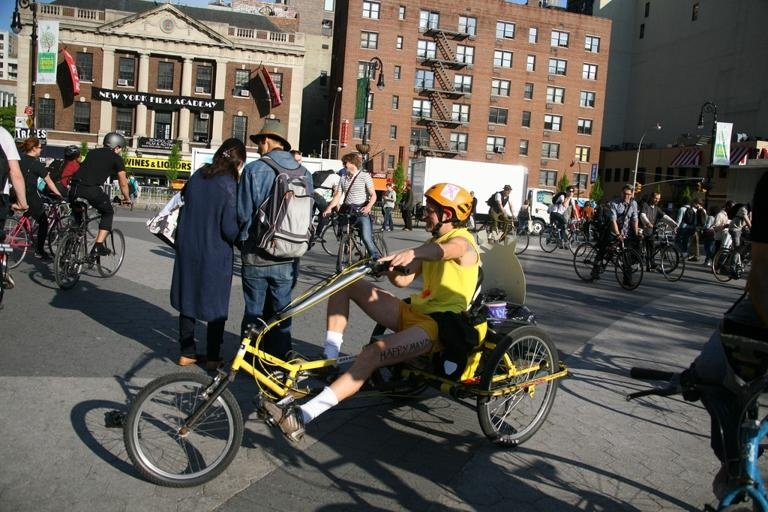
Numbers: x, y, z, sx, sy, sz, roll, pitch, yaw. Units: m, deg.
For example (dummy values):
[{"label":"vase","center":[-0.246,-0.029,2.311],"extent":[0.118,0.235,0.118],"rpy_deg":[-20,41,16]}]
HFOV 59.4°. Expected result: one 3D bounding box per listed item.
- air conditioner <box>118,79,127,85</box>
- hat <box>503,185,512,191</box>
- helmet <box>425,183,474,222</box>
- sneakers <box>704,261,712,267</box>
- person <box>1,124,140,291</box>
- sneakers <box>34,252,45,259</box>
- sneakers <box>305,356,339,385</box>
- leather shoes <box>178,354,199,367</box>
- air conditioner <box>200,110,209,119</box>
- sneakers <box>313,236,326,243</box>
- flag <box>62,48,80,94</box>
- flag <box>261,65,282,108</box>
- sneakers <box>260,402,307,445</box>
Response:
[{"label":"air conditioner","center":[-19.075,-12.742,49.244],"extent":[0.619,0.364,0.417],"rpy_deg":[-1,-24,-13]},{"label":"hat","center":[4.228,-2.359,23.254],"extent":[0.326,0.154,0.382],"rpy_deg":[0,4,5]},{"label":"helmet","center":[0.646,-0.565,6.674],"extent":[0.418,0.295,0.329],"rpy_deg":[31,6,-8]},{"label":"sneakers","center":[9.811,0.241,20.426],"extent":[0.097,0.134,0.324],"rpy_deg":[2,10,32]},{"label":"person","center":[-4.774,-0.756,11.061],"extent":[1.064,2.515,1.590],"rpy_deg":[-1,15,-17]},{"label":"sneakers","center":[-6.065,-0.021,11.867],"extent":[0.099,0.052,0.134],"rpy_deg":[13,-11,-13]},{"label":"sneakers","center":[-0.600,1.047,6.192],"extent":[0.134,0.185,0.407],"rpy_deg":[-5,-19,44]},{"label":"leather shoes","center":[-2.255,1.203,7.810],"extent":[0.091,0.129,0.286],"rpy_deg":[1,4,23]},{"label":"air conditioner","center":[-13.470,-10.667,50.375],"extent":[0.525,0.524,0.128],"rpy_deg":[3,2,6]},{"label":"sneakers","center":[-1.373,-0.361,14.338],"extent":[0.282,0.132,0.389],"rpy_deg":[0,-1,-2]},{"label":"flag","center":[-21.992,-12.967,47.437],"extent":[0.983,3.177,1.848],"rpy_deg":[-4,16,-25]},{"label":"flag","center":[-8.385,-12.667,50.311],"extent":[1.885,2.963,0.696],"rpy_deg":[15,18,38]},{"label":"sneakers","center":[-0.839,1.395,5.805],"extent":[0.389,0.248,0.127],"rpy_deg":[41,0,7]}]
